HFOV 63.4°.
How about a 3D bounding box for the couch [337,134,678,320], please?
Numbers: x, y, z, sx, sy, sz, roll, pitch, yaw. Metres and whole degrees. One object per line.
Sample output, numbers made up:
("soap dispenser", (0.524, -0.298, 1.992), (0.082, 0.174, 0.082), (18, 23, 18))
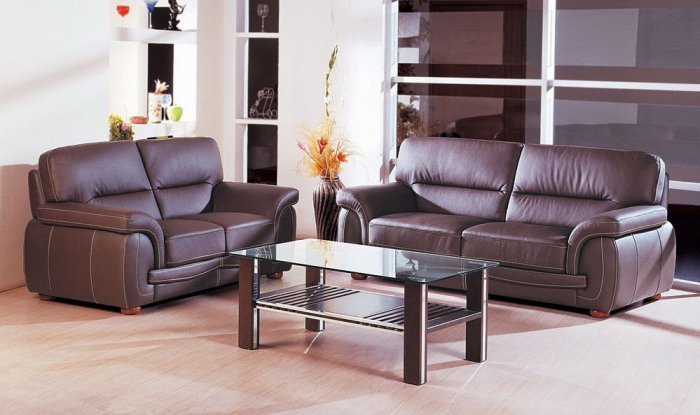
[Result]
("couch", (1.520, 0.068, 5.967), (1.459, 1.288, 3.122), (-19, 19, -40))

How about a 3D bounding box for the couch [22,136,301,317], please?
("couch", (-1.805, 0.048, 5.892), (1.390, 1.289, 2.345), (10, 13, 27))

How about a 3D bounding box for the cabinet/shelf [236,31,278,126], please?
("cabinet/shelf", (-1.171, -1.747, 7.864), (0.603, 1.157, 0.159), (7, 13, 23))

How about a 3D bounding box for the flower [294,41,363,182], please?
("flower", (-0.293, -1.117, 7.281), (0.740, 1.177, 0.633), (7, -11, 3))

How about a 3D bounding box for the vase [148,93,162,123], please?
("vase", (-2.469, -1.240, 7.142), (0.166, 0.366, 0.157), (-1, 12, 2))

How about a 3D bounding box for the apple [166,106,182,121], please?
("apple", (-2.344, -1.234, 7.524), (0.243, 0.189, 0.213), (-1, 11, 9))

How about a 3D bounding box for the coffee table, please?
("coffee table", (0.202, 0.665, 4.352), (2.021, 0.723, 1.076), (4, 6, 36))
